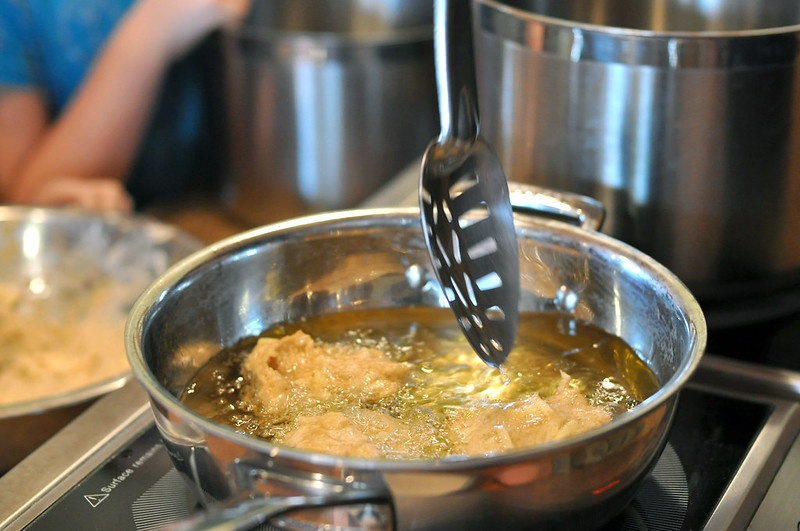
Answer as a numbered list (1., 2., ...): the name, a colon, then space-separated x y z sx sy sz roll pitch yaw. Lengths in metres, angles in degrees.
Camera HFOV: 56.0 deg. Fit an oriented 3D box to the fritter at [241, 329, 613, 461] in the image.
1. fritter: 0.008 0.077 0.697 0.278 0.098 0.239 -12 19 -27
